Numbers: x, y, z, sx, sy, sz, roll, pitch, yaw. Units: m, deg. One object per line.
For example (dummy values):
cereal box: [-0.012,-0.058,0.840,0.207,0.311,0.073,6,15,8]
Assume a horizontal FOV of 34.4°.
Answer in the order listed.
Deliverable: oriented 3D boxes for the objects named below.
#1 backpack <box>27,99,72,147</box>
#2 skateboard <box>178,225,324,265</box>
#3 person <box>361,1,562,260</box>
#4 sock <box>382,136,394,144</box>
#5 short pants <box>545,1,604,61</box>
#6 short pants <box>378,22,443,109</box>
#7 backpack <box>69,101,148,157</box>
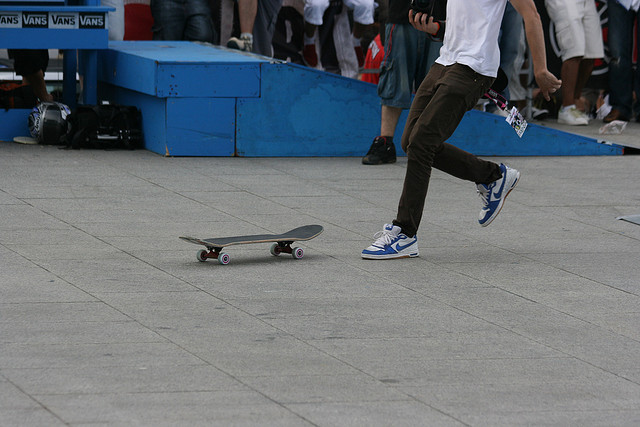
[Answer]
backpack: [-2.630,-0.870,10.128,0.431,0.437,0.497,15,10,35]
skateboard: [-0.390,0.180,6.718,1.176,0.179,0.307,-3,8,-27]
person: [0.939,-0.577,6.945,1.204,1.719,0.596,3,13,-9]
sock: [0.647,-0.706,9.732,0.079,0.048,0.060,1,2,-5]
short pants: [3.101,-2.218,12.439,0.799,0.714,0.362,2,13,-15]
short pants: [0.831,-1.397,9.693,0.542,0.782,0.380,4,13,-6]
backpack: [-2.143,-0.851,10.144,0.734,0.441,0.734,0,7,-20]
